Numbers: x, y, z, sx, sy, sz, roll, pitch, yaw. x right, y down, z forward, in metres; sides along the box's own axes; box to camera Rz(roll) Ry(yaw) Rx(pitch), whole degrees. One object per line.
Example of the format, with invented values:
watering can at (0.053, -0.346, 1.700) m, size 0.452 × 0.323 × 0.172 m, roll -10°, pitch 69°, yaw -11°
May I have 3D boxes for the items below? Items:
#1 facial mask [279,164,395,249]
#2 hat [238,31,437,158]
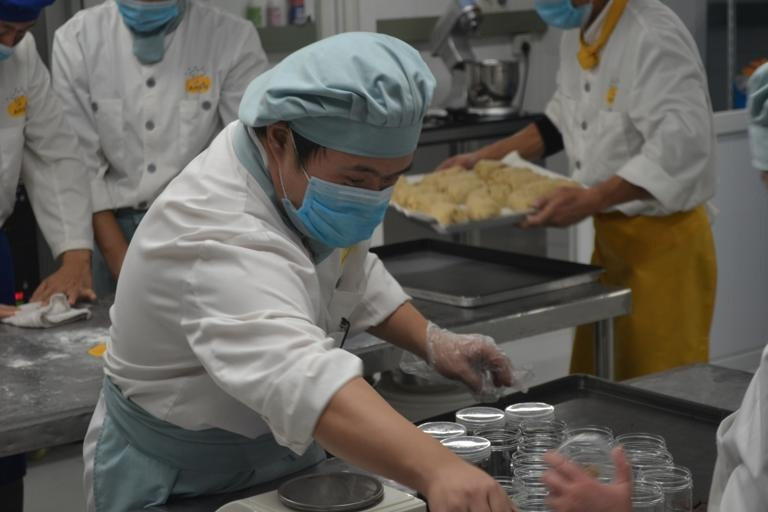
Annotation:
facial mask at (-0.111, -0.109, 1.728) m, size 0.174 × 0.137 × 0.176 m, roll 47°, pitch 32°, yaw 19°
hat at (-0.113, -0.349, 1.659) m, size 0.443 × 0.271 × 0.183 m, roll -3°, pitch 17°, yaw 4°
